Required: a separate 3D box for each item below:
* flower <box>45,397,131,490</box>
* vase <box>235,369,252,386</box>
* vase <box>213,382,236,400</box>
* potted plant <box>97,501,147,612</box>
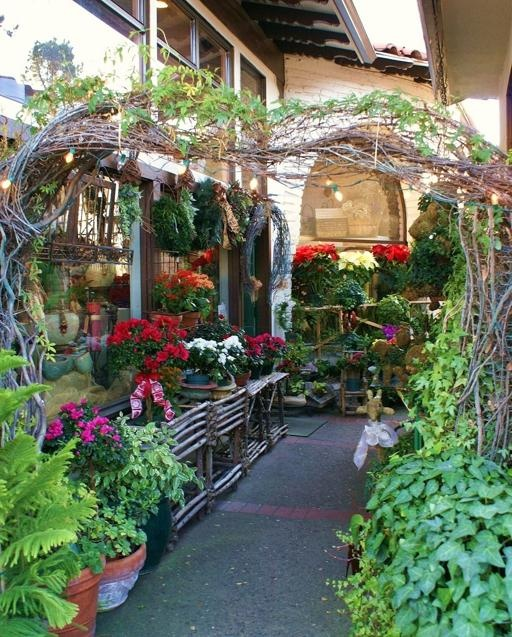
[{"bbox_3d":[-0.868,0.658,2.595,0.424,0.439,0.361,0,-1,-22],"label":"flower"},{"bbox_3d":[-0.132,0.591,5.012,0.169,0.112,0.158,-1,-7,-1],"label":"vase"},{"bbox_3d":[-0.281,0.635,4.367,0.212,0.084,0.199,-1,-4,-12],"label":"vase"},{"bbox_3d":[-0.646,1.206,2.428,0.227,0.527,0.525,0,-1,-16],"label":"potted plant"}]
